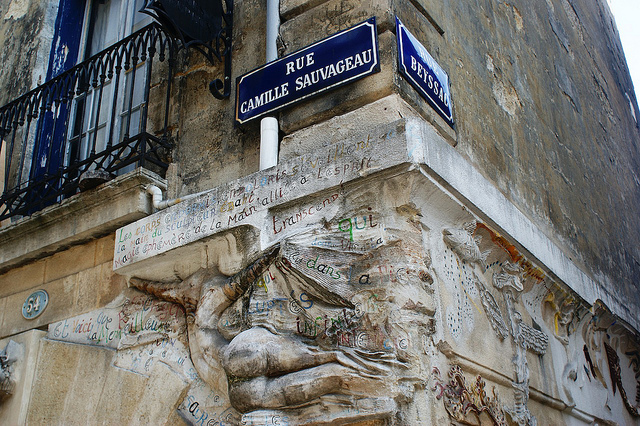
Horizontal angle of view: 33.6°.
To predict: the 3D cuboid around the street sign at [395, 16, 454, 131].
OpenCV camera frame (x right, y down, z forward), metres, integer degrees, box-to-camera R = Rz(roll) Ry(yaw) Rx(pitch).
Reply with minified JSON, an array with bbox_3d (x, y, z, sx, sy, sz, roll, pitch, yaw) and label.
[{"bbox_3d":[1.233,-1.689,13.142,0.047,0.865,1.446,-24,-45,23],"label":"street sign"}]
